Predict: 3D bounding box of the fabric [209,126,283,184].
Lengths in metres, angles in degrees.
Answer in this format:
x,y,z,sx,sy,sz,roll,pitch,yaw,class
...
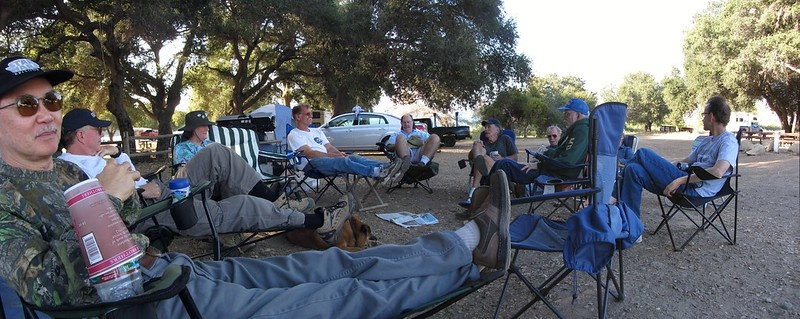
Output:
x,y,z,sx,sy,sz,roll,pitch,yaw,class
-5.589,-0.356,16.718,2.653,1.767,1.964,8,6,39,fabric

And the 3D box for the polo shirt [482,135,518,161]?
x,y,z,sx,sy,sz,roll,pitch,yaw,class
3.574,-0.433,17.185,1.510,0.876,0.690,-1,8,23,polo shirt

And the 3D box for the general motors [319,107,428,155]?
x,y,z,sx,sy,sz,roll,pitch,yaw,class
-1.983,-1.497,24.022,5.787,1.480,2.215,2,1,3,general motors

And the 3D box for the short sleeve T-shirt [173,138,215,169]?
x,y,z,sx,sy,sz,roll,pitch,yaw,class
-6.957,-0.216,15.784,1.255,1.174,0.984,0,0,23,short sleeve T-shirt

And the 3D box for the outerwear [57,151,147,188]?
x,y,z,sx,sy,sz,roll,pitch,yaw,class
-9.178,0.122,14.056,1.968,0.708,1.326,12,4,-9,outerwear

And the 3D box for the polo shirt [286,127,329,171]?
x,y,z,sx,sy,sz,roll,pitch,yaw,class
-3.288,-0.334,16.372,1.570,1.263,0.784,-10,-22,-46,polo shirt

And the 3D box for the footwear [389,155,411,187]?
x,y,z,sx,sy,sz,roll,pitch,yaw,class
0.004,0.370,16.308,0.507,1.123,0.406,22,-17,51,footwear

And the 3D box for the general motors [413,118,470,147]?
x,y,z,sx,sy,sz,roll,pitch,yaw,class
2.608,-1.720,27.307,3.514,1.117,1.528,2,0,-2,general motors
